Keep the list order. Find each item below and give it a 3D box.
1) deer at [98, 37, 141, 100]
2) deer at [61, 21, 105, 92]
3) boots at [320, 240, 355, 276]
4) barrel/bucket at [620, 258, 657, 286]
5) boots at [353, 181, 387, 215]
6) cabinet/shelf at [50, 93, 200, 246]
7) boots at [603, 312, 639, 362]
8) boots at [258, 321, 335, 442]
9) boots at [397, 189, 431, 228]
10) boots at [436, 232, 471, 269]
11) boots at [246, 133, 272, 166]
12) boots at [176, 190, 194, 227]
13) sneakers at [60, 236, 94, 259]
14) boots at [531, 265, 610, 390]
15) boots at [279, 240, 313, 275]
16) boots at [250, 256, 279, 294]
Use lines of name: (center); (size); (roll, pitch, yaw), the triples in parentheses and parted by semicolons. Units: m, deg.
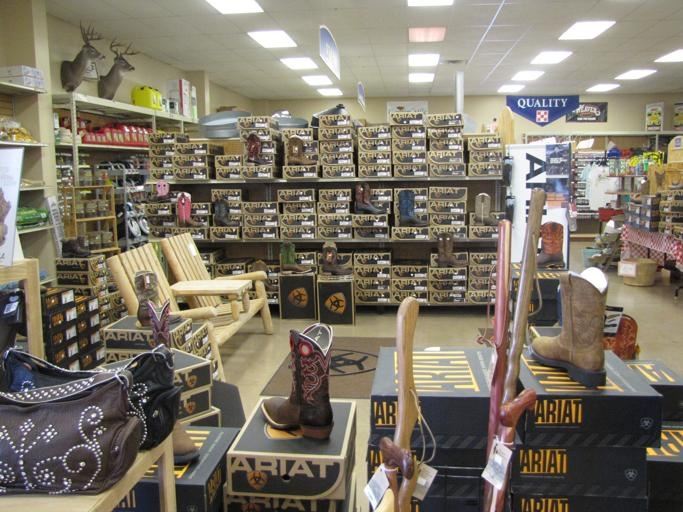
deer: (-3.139, -2.503, 7.586); (0.508, 0.899, 0.466); (4, 12, -11)
deer: (-3.284, -2.476, 6.873); (0.599, 0.831, 0.453); (10, 5, 0)
boots: (-0.085, 0.041, 6.077); (0.479, 0.456, 0.254); (-2, 7, -11)
barrel/bucket: (4.097, 0.220, 7.443); (0.370, 0.262, 0.435); (-1, 0, 9)
boots: (0.285, -0.664, 6.233); (0.433, 0.367, 0.173); (1, 11, 32)
cabinet/shelf: (-2.790, -1.054, 6.806); (0.664, 2.062, 2.275); (0, 7, 11)
boots: (1.748, 0.497, 3.489); (0.263, 0.353, 0.106); (0, 16, -12)
boots: (-0.181, 0.583, 2.598); (0.397, 0.484, 0.373); (-8, 10, -22)
boots: (0.795, -0.554, 6.163); (0.353, 0.435, 0.136); (-3, 10, 7)
boots: (1.229, -0.050, 6.138); (0.413, 0.379, 0.163); (3, 0, -18)
boots: (-0.959, -1.239, 6.240); (0.311, 0.360, 0.140); (-4, 10, 3)
boots: (-1.830, -0.556, 6.330); (0.201, 0.403, 0.123); (1, 9, 9)
sneakers: (-2.621, -0.080, 5.326); (0.289, 0.194, 0.190); (0, 7, -1)
boots: (1.066, 0.292, 2.456); (0.271, 0.464, 0.378); (-9, 10, -24)
boots: (-0.568, 0.028, 6.105); (0.452, 0.435, 0.236); (-1, 7, -10)
boots: (-0.850, 0.227, 6.336); (0.372, 0.453, 0.336); (1, 8, 7)
